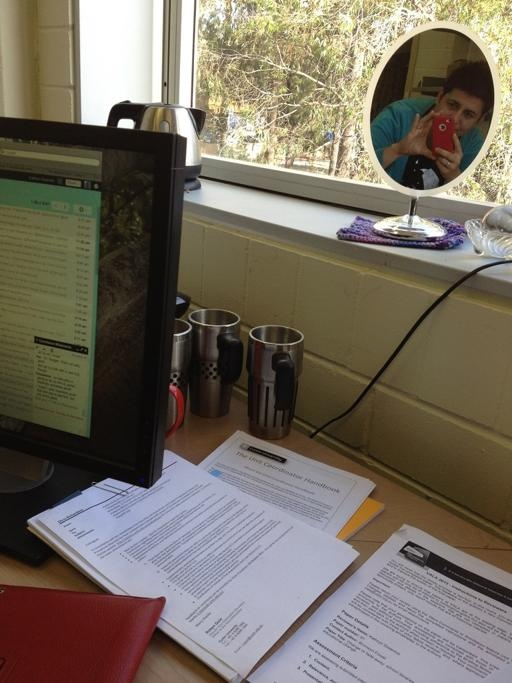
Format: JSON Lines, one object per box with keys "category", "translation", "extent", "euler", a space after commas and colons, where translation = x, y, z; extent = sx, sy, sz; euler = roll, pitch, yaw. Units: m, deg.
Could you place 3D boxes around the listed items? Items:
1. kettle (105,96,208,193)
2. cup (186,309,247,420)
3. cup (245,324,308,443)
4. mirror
{"category": "kettle", "translation": [-0.228, -0.434, 1.241], "extent": [0.218, 0.185, 0.131], "euler": [0, 18, -5]}
{"category": "cup", "translation": [-0.062, 0.035, 0.834], "extent": [0.089, 0.158, 0.123], "euler": [-10, 26, -30]}
{"category": "cup", "translation": [0.029, 0.058, 0.802], "extent": [0.090, 0.163, 0.132], "euler": [-4, 26, -17]}
{"category": "mirror", "translation": [0.244, -0.328, 0.799], "extent": [0.193, 0.229, 0.042], "euler": [23, 26, 37]}
